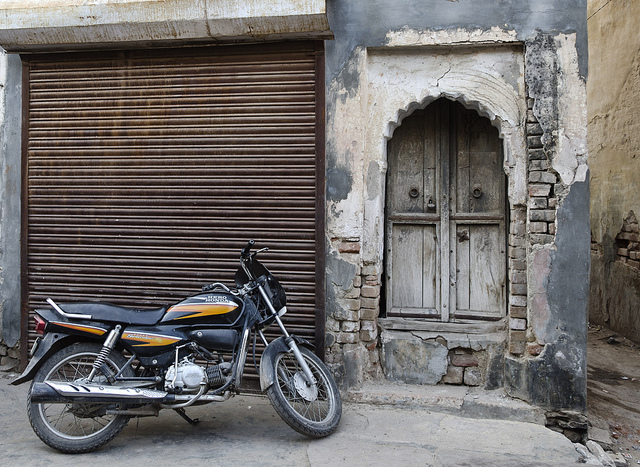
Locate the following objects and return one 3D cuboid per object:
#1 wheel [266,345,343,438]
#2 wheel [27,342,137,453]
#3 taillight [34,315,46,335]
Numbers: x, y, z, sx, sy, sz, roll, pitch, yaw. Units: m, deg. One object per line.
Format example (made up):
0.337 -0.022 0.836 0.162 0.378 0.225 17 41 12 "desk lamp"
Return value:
-0.186 1.557 6.488 0.675 0.661 0.218 31 -58 -36 "wheel"
-2.177 1.519 6.174 0.968 0.942 0.155 -2 -15 -1 "wheel"
-2.598 0.852 6.271 0.085 0.172 0.124 1 -7 -23 "taillight"
